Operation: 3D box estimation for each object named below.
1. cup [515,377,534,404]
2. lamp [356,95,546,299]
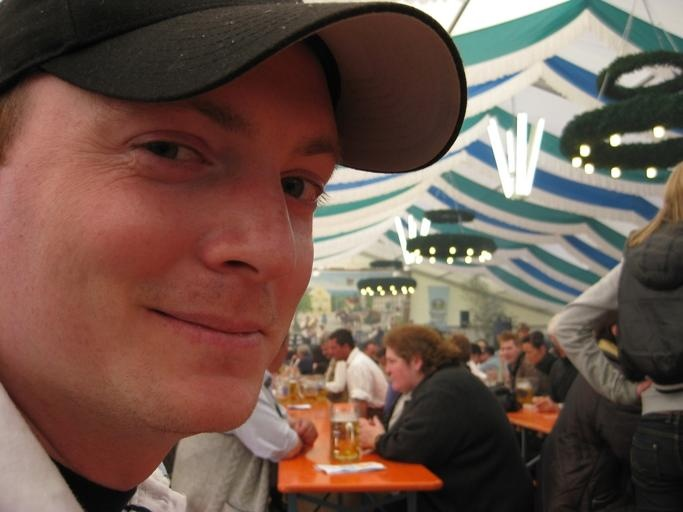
[{"bbox_3d":[1.591,1.192,6.750,0.173,0.289,0.180,2,-27,1],"label":"cup"},{"bbox_3d":[1.554,-0.928,9.058,1.819,2.195,1.860,5,-20,-7],"label":"lamp"}]
